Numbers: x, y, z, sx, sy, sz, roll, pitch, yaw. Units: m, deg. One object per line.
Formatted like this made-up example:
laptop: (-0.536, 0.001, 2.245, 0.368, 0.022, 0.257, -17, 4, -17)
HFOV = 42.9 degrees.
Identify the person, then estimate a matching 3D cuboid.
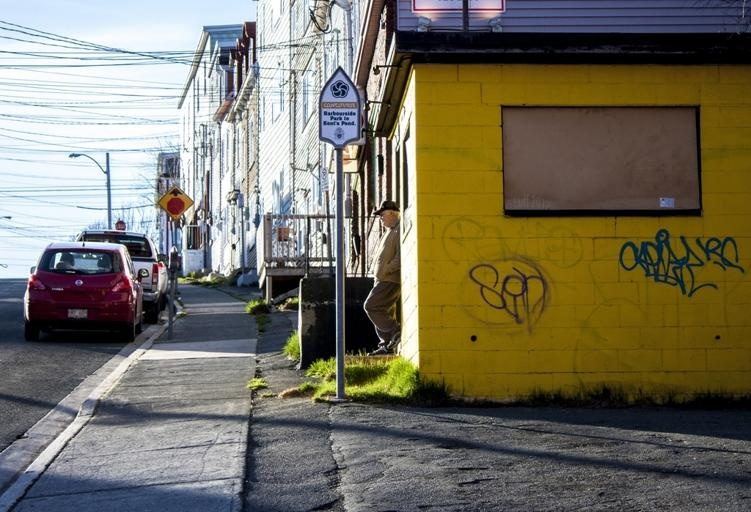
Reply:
person: (0.112, 0.316, 14.017, 0.498, 2.263, 0.900, 0, 1, -1)

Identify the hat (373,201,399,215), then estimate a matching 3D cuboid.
hat: (0.196, -0.727, 14.047, 0.205, 0.114, 0.290, -5, -8, 19)

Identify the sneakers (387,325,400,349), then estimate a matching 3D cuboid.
sneakers: (0.284, 1.213, 14.041, 0.142, 0.378, 0.138, 16, -24, -3)

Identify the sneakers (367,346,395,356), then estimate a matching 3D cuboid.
sneakers: (0.071, 1.397, 14.136, 0.430, 0.185, 0.144, 1, -6, -1)
